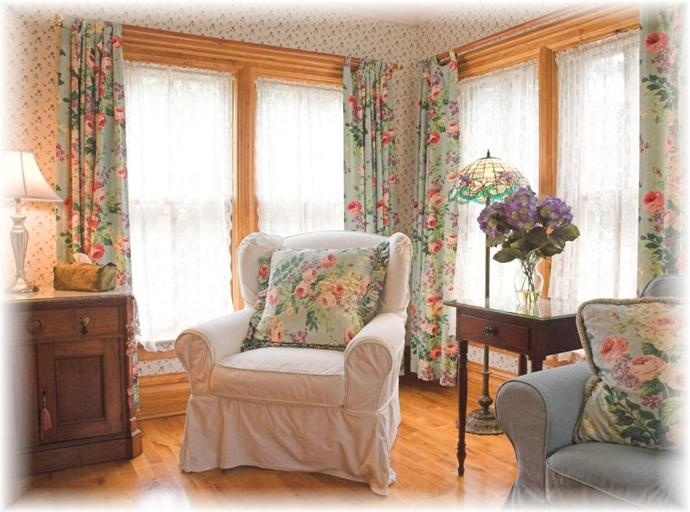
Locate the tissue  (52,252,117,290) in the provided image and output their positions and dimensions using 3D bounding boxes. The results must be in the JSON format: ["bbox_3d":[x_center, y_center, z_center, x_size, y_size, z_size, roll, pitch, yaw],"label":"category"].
[{"bbox_3d":[-1.573,0.128,3.409,0.324,0.217,0.181,-1,-12,10],"label":"tissue "}]

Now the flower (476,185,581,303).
[{"bbox_3d":[0.978,-0.120,3.163,0.536,0.505,0.595,-5,-43,24],"label":"flower"}]

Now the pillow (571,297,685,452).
[{"bbox_3d":[1.217,0.480,2.368,0.572,0.564,0.174,-7,-18,34],"label":"pillow"}]

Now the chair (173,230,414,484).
[{"bbox_3d":[-0.262,0.463,3.700,1.471,1.532,1.338,1,-2,13],"label":"chair"}]

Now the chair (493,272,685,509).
[{"bbox_3d":[1.099,0.675,2.539,0.607,0.682,0.588,-1,-6,35],"label":"chair"}]

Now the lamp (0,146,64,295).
[{"bbox_3d":[-1.930,-0.233,3.503,0.313,0.839,0.515,-5,11,-26],"label":"lamp"}]
